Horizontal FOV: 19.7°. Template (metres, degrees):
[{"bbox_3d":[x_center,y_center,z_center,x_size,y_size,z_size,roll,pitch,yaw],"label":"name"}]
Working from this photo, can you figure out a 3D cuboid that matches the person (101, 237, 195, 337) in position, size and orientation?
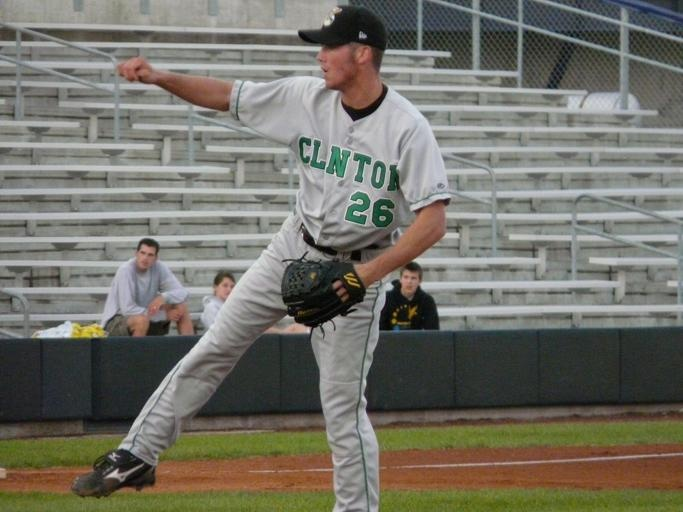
[{"bbox_3d":[-2.345,0.548,24.174,1.411,1.373,1.031,-2,4,3],"label":"person"}]
